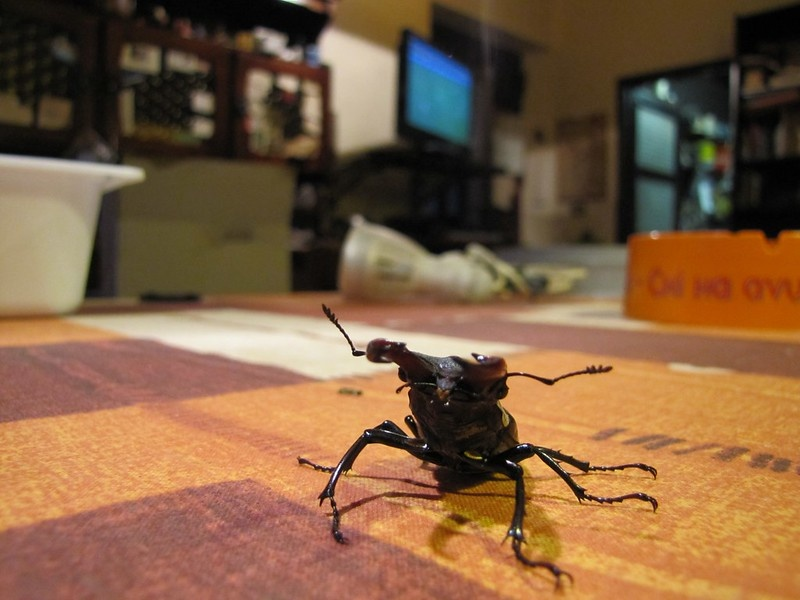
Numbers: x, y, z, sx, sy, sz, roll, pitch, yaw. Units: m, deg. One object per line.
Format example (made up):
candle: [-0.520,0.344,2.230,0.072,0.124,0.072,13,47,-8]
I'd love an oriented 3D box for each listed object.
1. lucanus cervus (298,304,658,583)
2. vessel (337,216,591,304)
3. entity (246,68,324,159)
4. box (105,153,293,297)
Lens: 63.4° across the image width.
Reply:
lucanus cervus: [0.072,0.077,0.686,0.300,0.158,0.248,4,15,20]
vessel: [0.335,-0.184,3.056,1.229,0.433,0.399,-2,-10,-13]
entity: [-0.124,-0.199,0.679,0.084,0.089,0.039,6,21,0]
box: [-0.233,-0.096,0.766,0.213,0.155,0.113,-3,6,-9]
